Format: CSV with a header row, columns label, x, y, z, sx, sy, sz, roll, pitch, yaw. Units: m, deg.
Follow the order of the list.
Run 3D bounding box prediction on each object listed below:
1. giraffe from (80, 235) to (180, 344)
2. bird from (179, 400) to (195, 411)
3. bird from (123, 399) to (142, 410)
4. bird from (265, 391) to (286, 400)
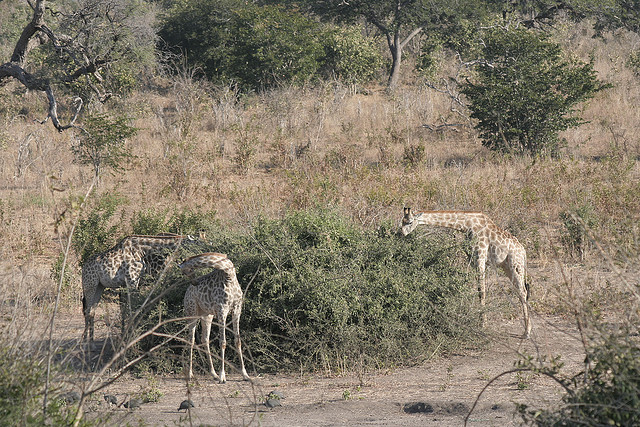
label,x,y,z,sx,sy,sz,roll,pitch,yaw
giraffe,-4.592,1.836,25.551,3.051,2.571,0.828,-3,1,9
bird,-2.994,4.297,23.217,0.307,0.236,0.175,-5,-17,32
bird,-4.202,4.268,23.219,0.388,0.222,0.638,-1,-1,9
bird,-1.023,4.146,23.669,0.398,0.150,0.471,0,-1,-21
